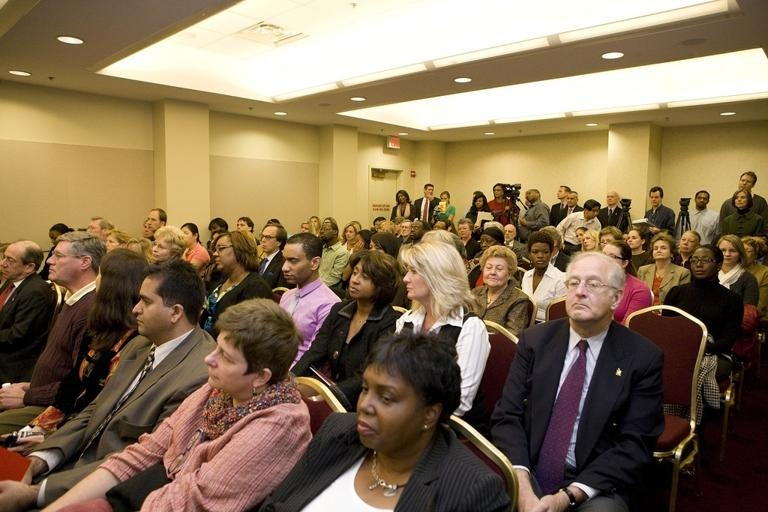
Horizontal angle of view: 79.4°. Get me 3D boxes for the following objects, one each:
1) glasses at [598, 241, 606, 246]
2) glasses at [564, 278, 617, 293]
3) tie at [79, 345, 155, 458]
[{"bbox_3d":[2.878,-0.150,6.058,0.096,0.064,0.129,-4,-4,38],"label":"glasses"},{"bbox_3d":[1.219,0.171,2.692,0.277,0.077,0.111,5,5,21],"label":"glasses"},{"bbox_3d":[-1.625,0.901,2.809,0.131,0.072,0.818,23,52,19],"label":"tie"}]
